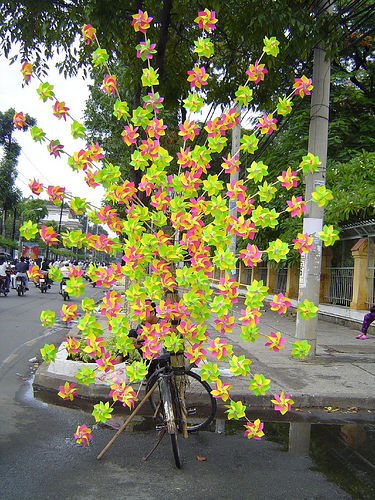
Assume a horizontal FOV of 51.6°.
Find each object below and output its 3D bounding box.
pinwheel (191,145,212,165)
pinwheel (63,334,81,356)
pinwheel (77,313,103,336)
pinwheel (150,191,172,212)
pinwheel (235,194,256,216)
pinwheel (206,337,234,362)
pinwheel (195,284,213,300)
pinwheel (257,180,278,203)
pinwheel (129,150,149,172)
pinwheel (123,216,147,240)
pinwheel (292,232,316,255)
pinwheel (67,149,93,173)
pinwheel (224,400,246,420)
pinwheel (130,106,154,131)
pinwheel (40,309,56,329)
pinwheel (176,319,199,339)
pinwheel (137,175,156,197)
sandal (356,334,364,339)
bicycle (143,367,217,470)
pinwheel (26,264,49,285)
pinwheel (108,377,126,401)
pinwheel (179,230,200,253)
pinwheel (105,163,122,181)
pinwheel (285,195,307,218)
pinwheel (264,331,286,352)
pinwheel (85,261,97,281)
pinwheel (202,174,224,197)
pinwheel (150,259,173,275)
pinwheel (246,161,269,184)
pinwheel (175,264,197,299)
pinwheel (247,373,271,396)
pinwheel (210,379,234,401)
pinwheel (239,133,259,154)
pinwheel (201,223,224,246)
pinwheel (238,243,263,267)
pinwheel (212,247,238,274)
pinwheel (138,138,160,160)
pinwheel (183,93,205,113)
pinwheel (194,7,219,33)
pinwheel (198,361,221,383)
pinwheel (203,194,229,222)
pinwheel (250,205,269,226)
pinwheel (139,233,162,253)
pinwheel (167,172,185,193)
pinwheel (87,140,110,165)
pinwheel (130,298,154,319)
[{"bbox_3d":[0.083,-0.573,2.350,0.115,0.115,0.055,3,8,-9],"label":"pinwheel"},{"bbox_3d":[-0.778,0.641,2.592,0.082,0.114,0.297,6,-10,-21],"label":"pinwheel"},{"bbox_3d":[-0.607,0.460,2.388,0.130,0.135,0.196,5,-10,-16],"label":"pinwheel"},{"bbox_3d":[-0.164,-0.303,2.372,0.113,0.101,0.056,-27,2,0],"label":"pinwheel"},{"bbox_3d":[0.358,-0.277,2.409,0.118,0.116,0.044,22,10,1],"label":"pinwheel"},{"bbox_3d":[0.200,0.554,2.307,0.156,0.155,0.054,9,12,1],"label":"pinwheel"},{"bbox_3d":[0.107,0.261,2.341,0.089,0.047,0.094,13,-13,39],"label":"pinwheel"},{"bbox_3d":[0.488,-0.355,2.386,0.120,0.117,0.059,8,7,-6],"label":"pinwheel"},{"bbox_3d":[-0.303,-0.549,2.395,0.118,0.122,0.059,44,2,-9],"label":"pinwheel"},{"bbox_3d":[-0.321,-0.121,2.296,0.123,0.121,0.060,28,-51,-31],"label":"pinwheel"},{"bbox_3d":[0.724,-0.050,2.395,0.148,0.138,0.065,2,25,-11],"label":"pinwheel"},{"bbox_3d":[-0.676,-0.554,2.456,0.125,0.170,0.113,-6,-13,42],"label":"pinwheel"},{"bbox_3d":[0.309,1.029,2.502,0.147,0.156,0.083,8,10,4],"label":"pinwheel"},{"bbox_3d":[-0.281,-0.799,2.348,0.120,0.120,0.055,20,21,-25],"label":"pinwheel"},{"bbox_3d":[-0.893,0.432,2.516,0.134,0.135,0.068,0,2,7],"label":"pinwheel"},{"bbox_3d":[0.006,0.474,2.310,0.129,0.117,0.067,-24,4,1],"label":"pinwheel"},{"bbox_3d":[-0.248,-0.405,2.447,0.094,0.038,0.100,-10,-38,23],"label":"pinwheel"},{"bbox_3d":[4.466,2.241,10.031,0.113,0.141,0.339,-15,-15,27],"label":"sandal"},{"bbox_3d":[-0.096,1.360,3.474,0.368,0.677,1.414,-10,-18,21],"label":"bicycle"},{"bbox_3d":[-0.959,0.144,2.462,0.165,0.161,0.075,4,2,-37],"label":"pinwheel"},{"bbox_3d":[-0.449,0.921,2.496,0.095,0.151,0.336,4,-10,-9],"label":"pinwheel"},{"bbox_3d":[0.014,-0.048,2.277,0.116,0.120,0.069,2,-9,1],"label":"pinwheel"},{"bbox_3d":[-0.455,-0.493,2.449,0.056,0.105,0.101,8,25,-45],"label":"pinwheel"},{"bbox_3d":[0.680,-0.270,2.398,0.126,0.142,0.076,-6,-4,20],"label":"pinwheel"},{"bbox_3d":[0.544,0.552,2.396,0.140,0.146,0.045,-8,-9,12],"label":"pinwheel"},{"bbox_3d":[-0.575,0.131,2.308,0.076,0.081,0.040,27,-12,-5],"label":"pinwheel"},{"bbox_3d":[0.151,-0.381,2.277,0.116,0.114,0.057,2,6,-12],"label":"pinwheel"},{"bbox_3d":[-0.161,0.107,2.306,0.111,0.096,0.157,3,-10,-6],"label":"pinwheel"},{"bbox_3d":[0.433,-0.478,2.415,0.132,0.131,0.060,7,3,10],"label":"pinwheel"},{"bbox_3d":[-0.009,0.153,2.244,0.123,0.118,0.225,3,-10,-2],"label":"pinwheel"},{"bbox_3d":[0.430,0.829,2.394,0.155,0.147,0.045,-18,0,9],"label":"pinwheel"},{"bbox_3d":[0.226,0.930,2.560,0.109,0.171,0.255,1,-10,8],"label":"pinwheel"},{"bbox_3d":[0.390,-0.674,2.470,0.117,0.116,0.058,0,16,10],"label":"pinwheel"},{"bbox_3d":[0.146,-0.089,2.223,0.113,0.113,0.056,3,18,-4],"label":"pinwheel"},{"bbox_3d":[0.378,0.031,2.299,0.124,0.128,0.050,-7,-5,13],"label":"pinwheel"},{"bbox_3d":[0.206,0.064,2.248,0.138,0.138,0.070,-4,-6,22],"label":"pinwheel"},{"bbox_3d":[-0.233,-0.605,2.342,0.114,0.112,0.057,-3,2,-4],"label":"pinwheel"},{"bbox_3d":[0.040,-0.924,2.467,0.136,0.133,0.067,15,9,3],"label":"pinwheel"},{"bbox_3d":[0.119,-1.481,2.503,0.138,0.140,0.049,-28,20,11],"label":"pinwheel"},{"bbox_3d":[0.137,0.763,2.425,0.127,0.126,0.063,-3,3,21],"label":"pinwheel"},{"bbox_3d":[0.179,-0.248,2.312,0.137,0.140,0.070,41,15,7],"label":"pinwheel"},{"bbox_3d":[0.415,-0.196,2.236,0.099,0.106,0.049,-15,-1,12],"label":"pinwheel"},{"bbox_3d":[-0.221,-0.034,2.268,0.061,0.111,0.121,-6,-13,42],"label":"pinwheel"},{"bbox_3d":[-0.067,-0.403,2.349,0.097,0.098,0.038,11,41,9],"label":"pinwheel"},{"bbox_3d":[-0.577,-0.625,2.495,0.050,0.092,0.114,-30,3,-42],"label":"pinwheel"},{"bbox_3d":[-0.261,0.329,2.163,0.109,0.111,0.055,-10,2,-26],"label":"pinwheel"}]
